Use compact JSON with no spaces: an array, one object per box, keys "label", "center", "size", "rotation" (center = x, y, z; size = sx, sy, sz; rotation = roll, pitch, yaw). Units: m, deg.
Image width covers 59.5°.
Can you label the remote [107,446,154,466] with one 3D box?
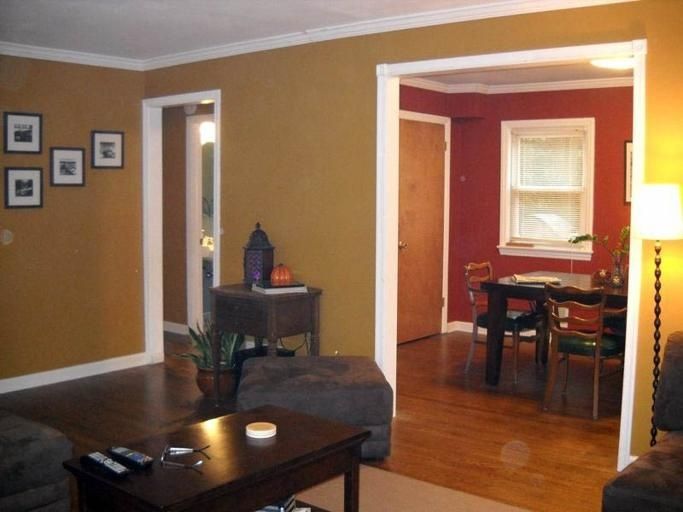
[{"label":"remote","center":[-0.941,0.903,2.703],"size":[0.156,0.042,0.089],"rotation":[10,8,30]}]

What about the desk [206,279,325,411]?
[{"label":"desk","center":[-0.653,0.690,4.941],"size":[0.741,0.928,0.647],"rotation":[3,4,45]}]

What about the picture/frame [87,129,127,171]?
[{"label":"picture/frame","center":[-2.308,-1.038,5.829],"size":[0.419,0.460,0.031],"rotation":[-5,6,-45]}]

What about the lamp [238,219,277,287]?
[{"label":"lamp","center":[-0.718,-0.014,5.165],"size":[0.253,0.525,0.164],"rotation":[-1,8,-10]}]

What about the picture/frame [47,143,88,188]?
[{"label":"picture/frame","center":[-2.586,-0.846,5.593],"size":[0.428,0.487,0.035],"rotation":[-4,7,-44]}]

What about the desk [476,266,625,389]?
[{"label":"desk","center":[1.758,0.669,5.880],"size":[0.936,0.671,0.907],"rotation":[11,-2,-14]}]

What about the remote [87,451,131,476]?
[{"label":"remote","center":[-1.030,0.915,2.624],"size":[0.080,0.049,0.235],"rotation":[-5,10,-41]}]

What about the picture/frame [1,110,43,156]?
[{"label":"picture/frame","center":[-2.869,-1.101,5.328],"size":[0.041,0.508,0.441],"rotation":[8,7,43]}]
